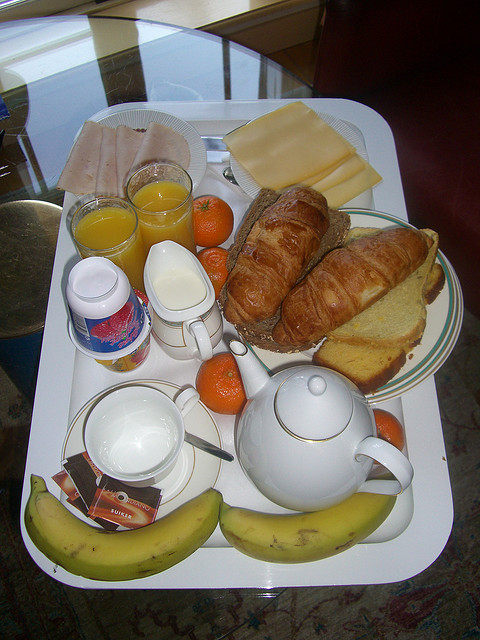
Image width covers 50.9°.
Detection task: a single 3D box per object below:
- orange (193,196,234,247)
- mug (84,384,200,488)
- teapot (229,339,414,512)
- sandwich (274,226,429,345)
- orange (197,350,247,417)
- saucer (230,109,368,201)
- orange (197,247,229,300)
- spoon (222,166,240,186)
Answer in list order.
[{"bbox_3d":[-0.068,-0.243,1.237,0.114,0.102,0.107,-16,47,-17],"label":"orange"},{"bbox_3d":[-0.174,0.218,0.894,0.161,0.156,0.156,-39,60,-22],"label":"mug"},{"bbox_3d":[0.136,0.182,0.832,0.261,0.172,0.208,-31,51,-33],"label":"teapot"},{"bbox_3d":[0.228,-0.071,1.011,0.372,0.159,0.135,-27,57,-17],"label":"sandwich"},{"bbox_3d":[-0.048,0.104,1.012,0.109,0.085,0.103,-4,11,-8],"label":"orange"},{"bbox_3d":[0.144,-0.401,1.245,0.238,0.132,0.244,-2,52,2],"label":"saucer"},{"bbox_3d":[-0.037,-0.104,1.187,0.114,0.100,0.105,1,39,0],"label":"orange"},{"bbox_3d":[-0.023,-0.376,1.351,0.016,0.060,0.055,-25,56,13],"label":"spoon"}]
